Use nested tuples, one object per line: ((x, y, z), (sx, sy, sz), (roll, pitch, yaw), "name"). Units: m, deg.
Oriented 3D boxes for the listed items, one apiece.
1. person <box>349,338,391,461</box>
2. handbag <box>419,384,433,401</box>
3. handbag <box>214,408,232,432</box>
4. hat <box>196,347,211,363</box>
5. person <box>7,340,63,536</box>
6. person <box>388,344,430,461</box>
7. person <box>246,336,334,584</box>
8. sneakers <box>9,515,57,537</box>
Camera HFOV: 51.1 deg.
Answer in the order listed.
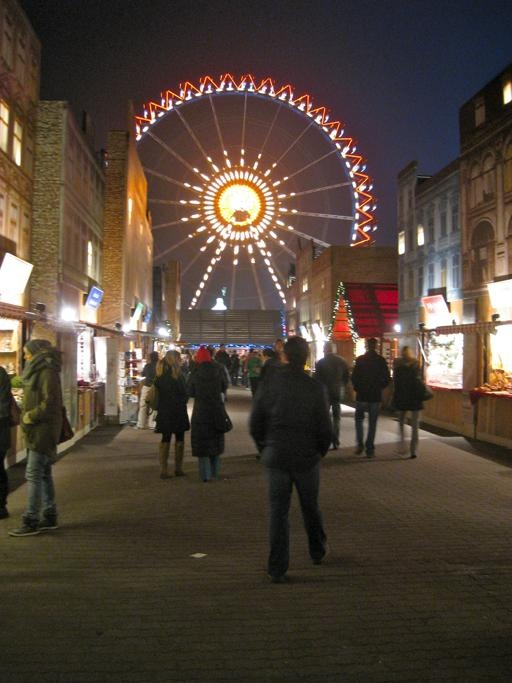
((2.054, 0.953, 9.694), (0.658, 2.072, 1.326), (-1, -3, 11), "person")
((2.900, 0.849, 9.228), (0.201, 0.319, 0.346), (-2, -3, 19), "handbag")
((-0.447, 1.126, 7.821), (0.200, 0.363, 0.671), (-1, -3, 4), "handbag")
((-0.743, 0.206, 7.991), (0.218, 0.243, 0.272), (-1, -8, -20), "hat")
((-2.100, 0.888, 5.187), (0.434, 1.834, 0.423), (1, -4, -19), "person")
((2.701, 1.027, 9.445), (0.613, 1.906, 0.910), (-1, -3, 11), "person")
((0.258, 0.938, 3.978), (0.589, 1.547, 0.399), (1, -4, -16), "person")
((-2.107, 1.720, 5.066), (0.434, 0.183, 0.152), (6, -9, -29), "sneakers")
